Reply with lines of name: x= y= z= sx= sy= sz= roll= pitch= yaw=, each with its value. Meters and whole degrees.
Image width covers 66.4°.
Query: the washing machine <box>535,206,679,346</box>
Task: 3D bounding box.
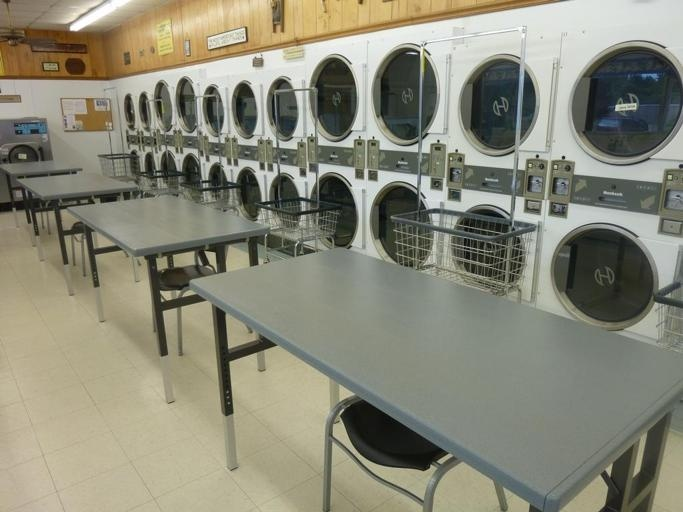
washing machine: x=1.932 y=0.085 z=3.900 sx=0.851 sy=0.976 sz=0.649 roll=5 pitch=11 yaw=36

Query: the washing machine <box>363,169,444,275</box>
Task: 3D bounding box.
washing machine: x=0.553 y=-0.335 z=4.543 sx=0.393 sy=1.166 sz=0.965 roll=0 pitch=0 yaw=-39
